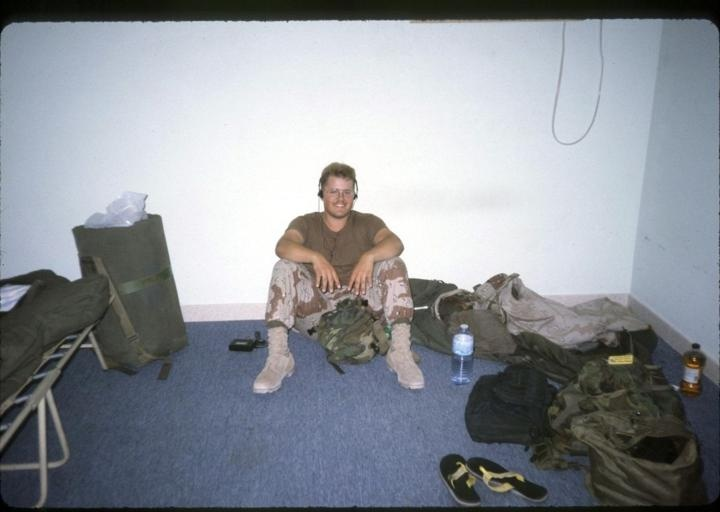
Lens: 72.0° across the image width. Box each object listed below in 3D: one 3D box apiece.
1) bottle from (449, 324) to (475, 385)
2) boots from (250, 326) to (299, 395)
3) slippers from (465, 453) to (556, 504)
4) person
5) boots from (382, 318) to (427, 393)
[{"bbox_3d":[0.688,0.630,3.345,0.158,0.304,0.403,1,21,12],"label":"bottle"},{"bbox_3d":[-0.573,0.678,3.255,0.160,0.381,0.402,1,11,21],"label":"boots"},{"bbox_3d":[0.768,1.177,2.593,0.313,0.055,0.164,17,31,30],"label":"slippers"},{"bbox_3d":[-0.069,0.073,3.387,1.143,1.384,1.365,2,11,19],"label":"person"},{"bbox_3d":[0.307,0.636,3.298,0.186,0.395,0.533,-5,12,-12],"label":"boots"}]
